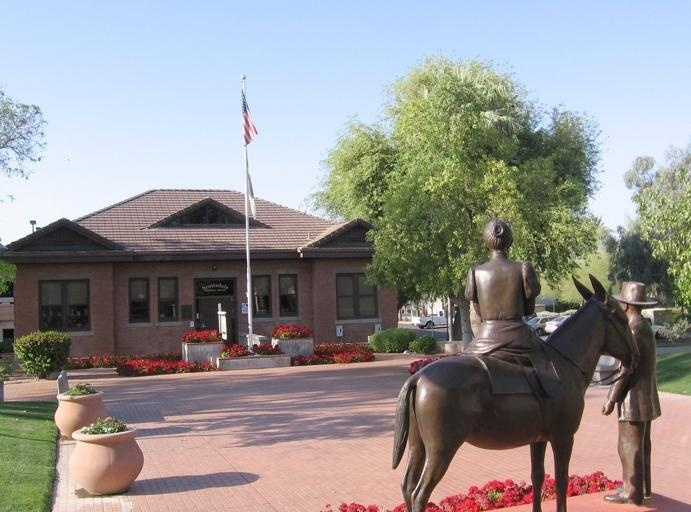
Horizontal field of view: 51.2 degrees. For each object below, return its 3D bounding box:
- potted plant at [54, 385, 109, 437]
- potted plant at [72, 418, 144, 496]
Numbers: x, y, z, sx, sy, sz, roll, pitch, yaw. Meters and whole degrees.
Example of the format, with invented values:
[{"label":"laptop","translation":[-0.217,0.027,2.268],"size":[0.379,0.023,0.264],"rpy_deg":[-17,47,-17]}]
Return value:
[{"label":"potted plant","translation":[-5.739,3.375,15.581],"size":[1.037,1.128,1.069],"rpy_deg":[0,0,-17]},{"label":"potted plant","translation":[-4.243,3.507,12.837],"size":[1.259,1.295,1.311],"rpy_deg":[0,0,-14]}]
